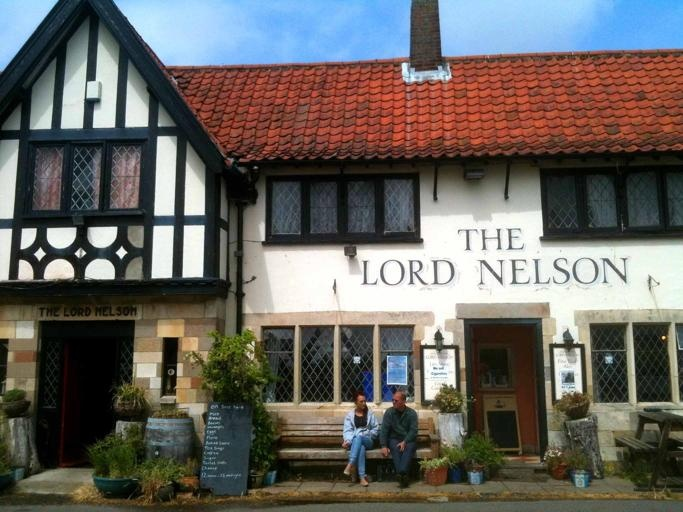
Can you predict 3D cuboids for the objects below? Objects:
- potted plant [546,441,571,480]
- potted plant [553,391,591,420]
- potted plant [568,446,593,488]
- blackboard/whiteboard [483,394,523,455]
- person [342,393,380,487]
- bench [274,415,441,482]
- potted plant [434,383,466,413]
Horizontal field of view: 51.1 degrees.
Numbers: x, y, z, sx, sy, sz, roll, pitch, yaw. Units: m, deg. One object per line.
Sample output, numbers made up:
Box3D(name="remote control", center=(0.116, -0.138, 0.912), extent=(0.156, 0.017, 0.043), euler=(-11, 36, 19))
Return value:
Box3D(name="potted plant", center=(4.384, 4.225, 14.606), extent=(0.331, 0.626, 0.641), euler=(2, -12, -17))
Box3D(name="potted plant", center=(4.774, 3.138, 14.855), extent=(0.550, 0.476, 0.578), euler=(-3, -14, -15))
Box3D(name="potted plant", center=(4.691, 4.209, 14.140), extent=(0.397, 0.622, 0.602), euler=(0, -3, 13))
Box3D(name="blackboard/whiteboard", center=(3.757, 3.910, 16.858), extent=(0.762, 1.307, 0.642), euler=(1, -2, 7))
Box3D(name="person", center=(0.382, 3.685, 14.423), extent=(0.580, 1.688, 0.831), euler=(2, -5, -18))
Box3D(name="bench", center=(0.232, 4.026, 14.660), extent=(3.261, 1.490, 1.222), euler=(1, -15, -1))
Box3D(name="potted plant", center=(2.275, 2.970, 14.968), extent=(0.511, 0.624, 0.538), euler=(2, -11, -1))
